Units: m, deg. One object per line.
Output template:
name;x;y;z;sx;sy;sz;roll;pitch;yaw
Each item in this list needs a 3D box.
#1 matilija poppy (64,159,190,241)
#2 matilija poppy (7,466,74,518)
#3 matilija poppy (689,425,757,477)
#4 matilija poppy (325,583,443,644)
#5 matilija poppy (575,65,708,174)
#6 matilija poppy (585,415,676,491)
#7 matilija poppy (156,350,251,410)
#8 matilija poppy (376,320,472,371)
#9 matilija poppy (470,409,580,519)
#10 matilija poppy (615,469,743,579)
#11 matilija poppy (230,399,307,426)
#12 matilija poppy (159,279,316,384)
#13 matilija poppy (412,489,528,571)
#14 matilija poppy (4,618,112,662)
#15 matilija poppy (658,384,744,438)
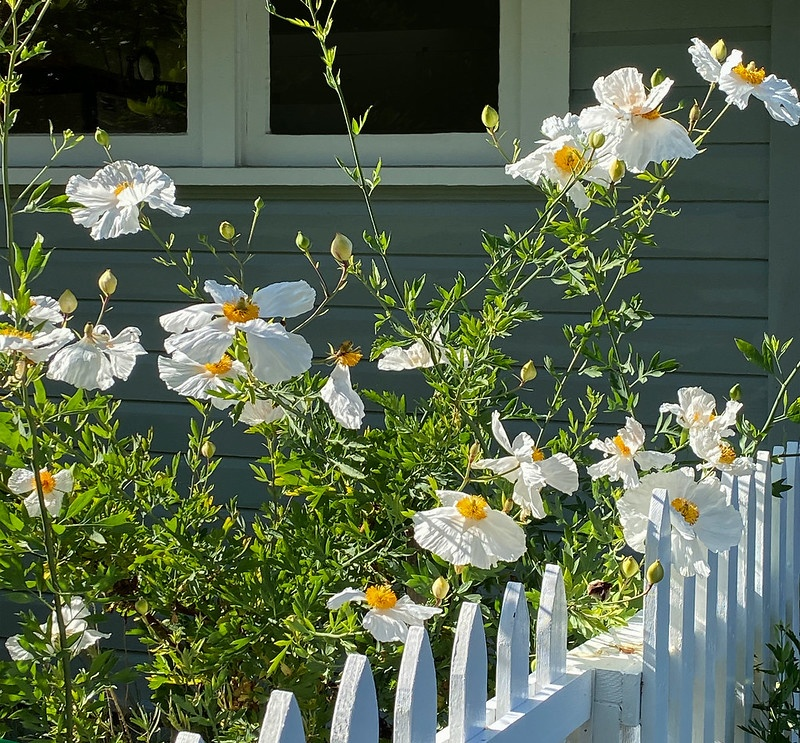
matilija poppy;-0.488;-0.305;2.065;0.202;0.159;0.167;-1;-5;-17
matilija poppy;-0.627;0.214;2.056;0.093;0.085;0.157;-4;-5;19
matilija poppy;0.615;0.151;2.183;0.107;0.093;0.168;-5;-5;30
matilija poppy;-0.024;0.419;1.971;0.190;0.112;0.175;-2;-4;-3
matilija poppy;0.441;-0.458;2.123;0.205;0.195;0.152;-2;-4;1
matilija poppy;0.431;0.140;2.155;0.167;0.077;0.175;-11;16;-12
matilija poppy;-0.317;-0.001;1.980;0.105;0.036;0.111;24;21;39
matilija poppy;0.036;-0.037;2.191;0.101;0.040;0.104;-7;13;34
matilija poppy;0.201;0.161;1.976;0.177;0.187;0.202;-1;-5;-12
matilija poppy;0.515;0.264;2.041;0.205;0.195;0.100;16;-24;-22
matilija poppy;-0.250;0.075;2.127;0.088;0.042;0.174;-2;-4;-6
matilija poppy;-0.258;-0.069;1.811;0.223;0.077;0.230;14;-19;-38
matilija poppy;0.123;0.241;1.912;0.177;0.062;0.174;7;12;43
matilija poppy;-0.644;0.512;2.198;0.158;0.057;0.159;-20;-18;20
matilija poppy;0.573;0.082;2.204;0.153;0.061;0.151;-17;19;-22
